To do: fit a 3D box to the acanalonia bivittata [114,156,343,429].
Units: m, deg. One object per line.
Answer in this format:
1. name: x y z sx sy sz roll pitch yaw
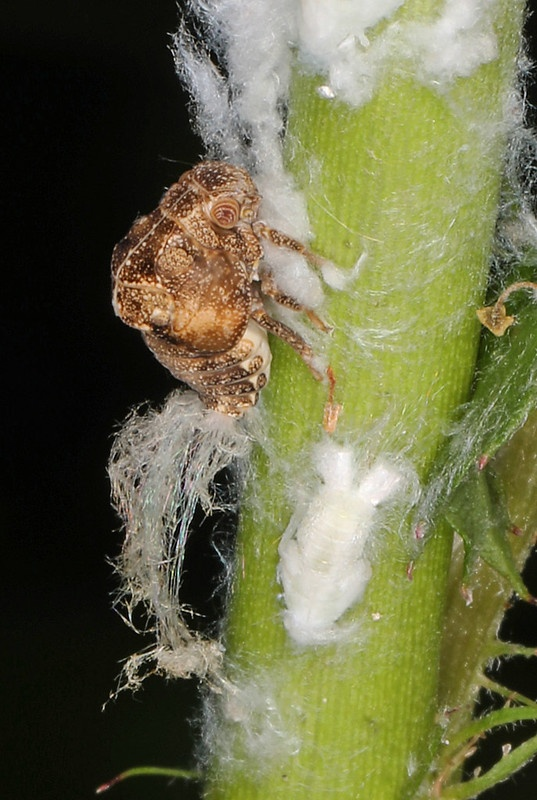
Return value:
1. acanalonia bivittata: -0.069 -0.192 1.514 0.336 0.441 0.139 9 20 28
